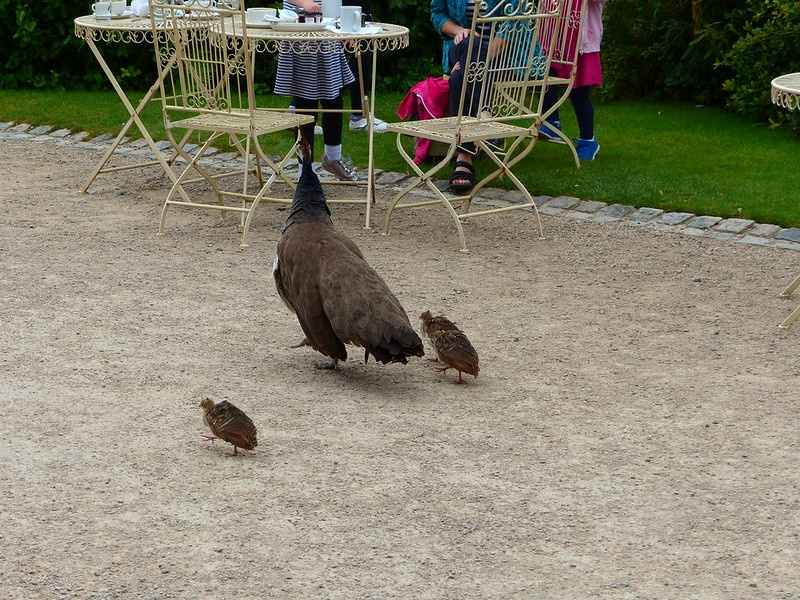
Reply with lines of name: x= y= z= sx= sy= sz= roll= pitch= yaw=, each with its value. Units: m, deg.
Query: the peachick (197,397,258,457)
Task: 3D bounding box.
peachick: x=-0.976 y=0.723 z=7.868 sx=0.375 sy=0.279 sz=0.247 roll=7 pitch=23 yaw=8

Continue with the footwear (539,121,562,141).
footwear: x=1.385 y=-1.542 z=12.778 sx=0.155 sy=0.154 sz=0.405 roll=3 pitch=9 yaw=5

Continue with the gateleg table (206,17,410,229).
gateleg table: x=-0.590 y=-1.570 z=11.097 sx=1.945 sy=1.671 sz=1.762 roll=1 pitch=24 yaw=0

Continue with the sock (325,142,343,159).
sock: x=-0.552 y=-1.231 z=11.660 sx=0.143 sy=0.106 sz=0.127 roll=1 pitch=10 yaw=8

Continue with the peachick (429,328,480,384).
peachick: x=0.348 y=0.324 z=8.450 sx=0.242 sy=0.285 sz=0.422 roll=-3 pitch=13 yaw=-34

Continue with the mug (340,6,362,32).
mug: x=-0.368 y=-2.083 z=10.349 sx=0.171 sy=0.187 sz=0.238 roll=3 pitch=22 yaw=-2

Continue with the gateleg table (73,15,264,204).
gateleg table: x=-2.321 y=-1.452 z=11.598 sx=1.376 sy=1.779 sz=1.378 roll=6 pitch=17 yaw=14

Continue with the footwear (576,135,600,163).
footwear: x=1.668 y=-1.325 z=12.346 sx=0.124 sy=0.127 sz=0.291 roll=-1 pitch=43 yaw=21
